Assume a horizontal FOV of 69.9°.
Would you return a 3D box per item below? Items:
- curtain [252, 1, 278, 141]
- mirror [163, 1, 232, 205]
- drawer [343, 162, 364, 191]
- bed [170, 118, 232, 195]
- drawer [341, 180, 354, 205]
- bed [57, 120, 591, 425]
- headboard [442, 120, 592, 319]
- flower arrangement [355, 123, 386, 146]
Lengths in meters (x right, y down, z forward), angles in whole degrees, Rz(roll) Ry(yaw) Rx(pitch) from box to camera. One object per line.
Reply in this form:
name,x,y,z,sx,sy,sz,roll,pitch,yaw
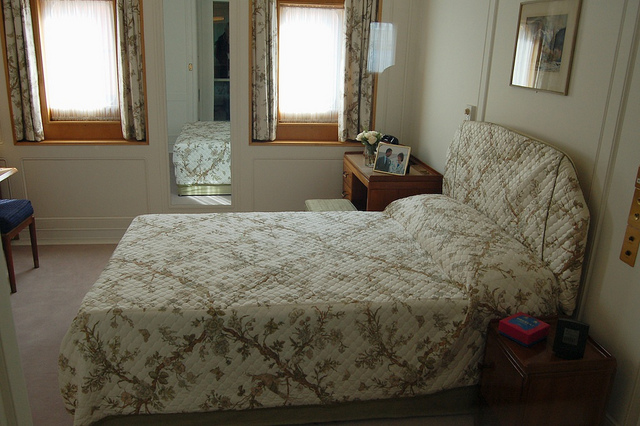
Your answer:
curtain,-0.621,-1.553,5.084,0.295,1.445,0.067,8,16,16
mirror,-1.468,-1.121,5.639,0.903,2.756,0.588,-1,13,-13
drawer,0.339,-0.410,5.109,0.235,0.220,0.346,-1,24,-8
bed,-1.512,-0.644,6.052,0.933,0.535,1.130,-3,11,-7
drawer,0.305,-0.232,5.185,0.180,0.242,0.324,-1,19,-6
bed,0.293,-0.350,5.101,4.997,1.865,3.883,1,17,-6
headboard,1.352,-0.229,3.454,0.133,0.844,1.249,-27,40,-20
flower arrangement,0.563,-0.856,4.993,0.215,0.182,0.218,5,-6,-22
